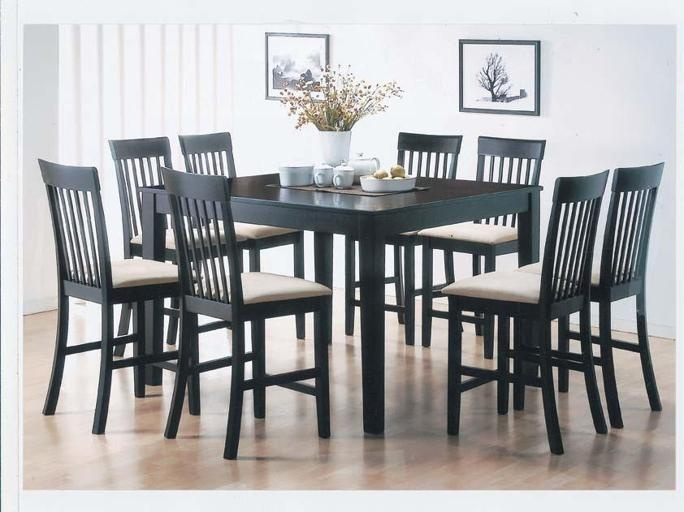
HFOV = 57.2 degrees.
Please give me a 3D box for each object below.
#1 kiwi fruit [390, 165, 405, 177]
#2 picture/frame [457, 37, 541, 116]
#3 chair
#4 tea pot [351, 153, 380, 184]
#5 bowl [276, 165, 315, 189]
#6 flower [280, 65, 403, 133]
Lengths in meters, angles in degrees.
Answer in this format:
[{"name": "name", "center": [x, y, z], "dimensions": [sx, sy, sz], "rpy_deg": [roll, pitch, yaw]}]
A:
[{"name": "kiwi fruit", "center": [0.271, -0.425, 3.124], "dimensions": [0.053, 0.067, 0.067], "rpy_deg": [3, 18, -3]}, {"name": "picture/frame", "center": [1.083, -1.236, 4.276], "dimensions": [0.583, 0.494, 0.045], "rpy_deg": [6, 11, 37]}, {"name": "chair", "center": [0.316, 0.175, 2.796], "dimensions": [2.241, 1.144, 0.958], "rpy_deg": [0, 11, -1]}, {"name": "tea pot", "center": [0.123, -0.477, 3.436], "dimensions": [0.210, 0.171, 0.153], "rpy_deg": [-5, 6, -37]}, {"name": "bowl", "center": [-0.251, -0.408, 3.271], "dimensions": [0.156, 0.072, 0.123], "rpy_deg": [0, 1, -24]}, {"name": "flower", "center": [0.042, -1.071, 4.237], "dimensions": [0.797, 0.422, 0.774], "rpy_deg": [0, 15, 0]}]
